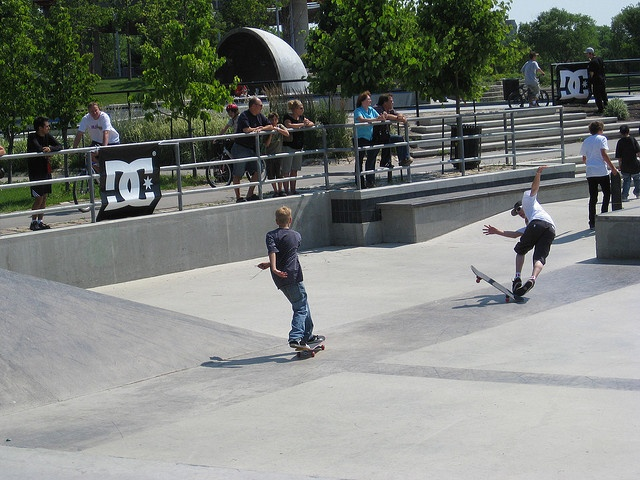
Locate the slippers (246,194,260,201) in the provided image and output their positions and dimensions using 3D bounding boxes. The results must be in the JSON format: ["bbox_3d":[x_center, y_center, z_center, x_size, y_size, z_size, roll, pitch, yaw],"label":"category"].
[{"bbox_3d":[-1.272,-0.860,20.580,0.244,0.117,0.298,-5,3,-5],"label":"slippers"}]

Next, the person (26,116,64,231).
[{"bbox_3d":[-4.771,-1.279,18.986,0.614,1.544,1.848,-5,3,-13],"label":"person"}]

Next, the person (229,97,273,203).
[{"bbox_3d":[-1.273,-1.810,20.799,0.838,2.200,0.771,-4,14,-23],"label":"person"}]

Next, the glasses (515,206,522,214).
[{"bbox_3d":[3.086,-0.508,17.192,0.119,0.126,0.041,-4,2,5],"label":"glasses"}]

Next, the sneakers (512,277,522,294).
[{"bbox_3d":[2.953,0.763,16.622,0.140,0.237,0.098,24,-10,19],"label":"sneakers"}]

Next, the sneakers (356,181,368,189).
[{"bbox_3d":[0.796,-1.158,21.394,0.160,0.196,0.486,-3,-1,6],"label":"sneakers"}]

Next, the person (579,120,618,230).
[{"bbox_3d":[5.124,-1.287,20.274,0.575,2.184,1.323,-3,3,14],"label":"person"}]

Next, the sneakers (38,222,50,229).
[{"bbox_3d":[-4.612,-0.246,18.337,0.280,0.117,0.098,11,19,39],"label":"sneakers"}]

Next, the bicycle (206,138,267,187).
[{"bbox_3d":[-1.902,-1.936,25.229,0.868,1.283,1.963,4,12,42],"label":"bicycle"}]

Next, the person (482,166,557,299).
[{"bbox_3d":[3.118,-0.043,17.127,0.916,2.032,1.450,30,-32,-22],"label":"person"}]

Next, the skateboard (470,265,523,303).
[{"bbox_3d":[2.777,0.790,17.354,0.768,0.108,0.163,40,48,21],"label":"skateboard"}]

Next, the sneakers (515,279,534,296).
[{"bbox_3d":[3.076,0.801,16.633,0.288,0.098,0.123,-46,-7,10],"label":"sneakers"}]

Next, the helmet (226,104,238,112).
[{"bbox_3d":[-1.792,-2.947,22.494,0.202,0.132,0.237,0,9,39],"label":"helmet"}]

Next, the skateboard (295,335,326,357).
[{"bbox_3d":[-0.100,1.642,15.442,0.183,0.284,0.578,7,15,30],"label":"skateboard"}]

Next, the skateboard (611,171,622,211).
[{"bbox_3d":[5.539,-0.972,20.636,0.186,0.893,0.253,0,25,21],"label":"skateboard"}]

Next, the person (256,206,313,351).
[{"bbox_3d":[-0.460,0.586,15.370,0.746,2.128,0.480,-6,3,-29],"label":"person"}]

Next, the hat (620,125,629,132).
[{"bbox_3d":[5.879,-2.327,21.276,0.132,0.182,0.181,2,21,13],"label":"hat"}]
